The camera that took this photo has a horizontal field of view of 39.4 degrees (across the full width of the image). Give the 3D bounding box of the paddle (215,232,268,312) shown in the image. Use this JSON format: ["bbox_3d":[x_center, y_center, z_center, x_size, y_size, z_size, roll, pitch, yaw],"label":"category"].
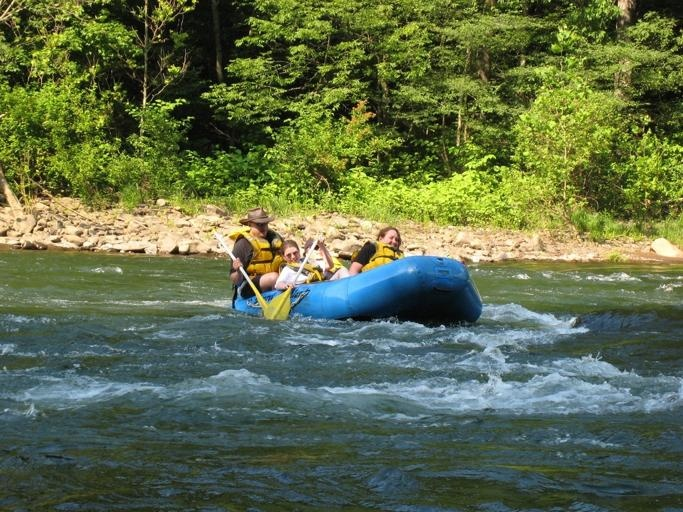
[{"bbox_3d":[-1.412,0.252,13.479,0.308,1.602,0.126,-46,-27,7],"label":"paddle"}]

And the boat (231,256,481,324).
[{"bbox_3d":[0.379,0.521,12.126,1.876,0.300,1.095,-10,-18,40],"label":"boat"}]
